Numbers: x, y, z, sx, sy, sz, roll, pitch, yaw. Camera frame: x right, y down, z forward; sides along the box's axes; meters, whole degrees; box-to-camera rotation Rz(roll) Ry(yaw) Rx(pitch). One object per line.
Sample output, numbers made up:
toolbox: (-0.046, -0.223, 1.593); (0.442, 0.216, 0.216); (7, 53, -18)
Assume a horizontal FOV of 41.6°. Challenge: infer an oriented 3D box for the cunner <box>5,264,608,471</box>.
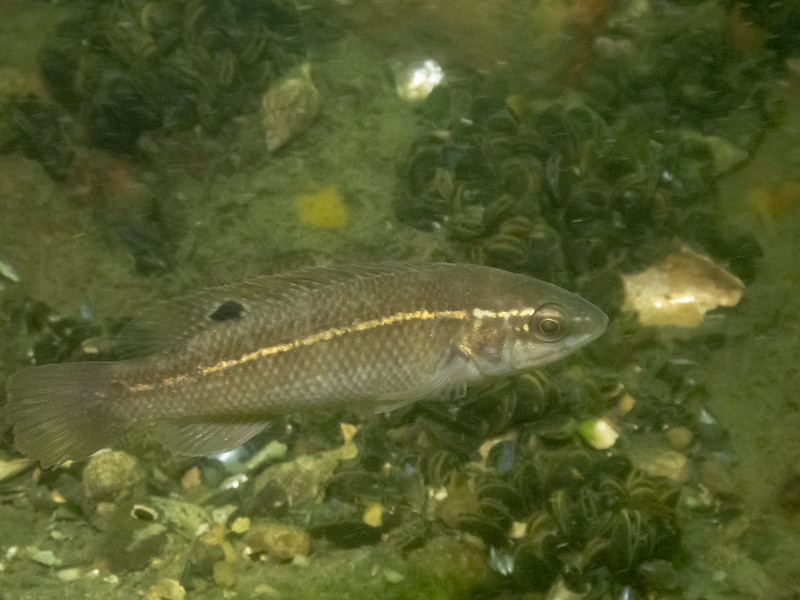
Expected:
cunner: (-0.612, 0.037, 6.476); (4.119, 1.048, 1.247); (-8, -57, 2)
